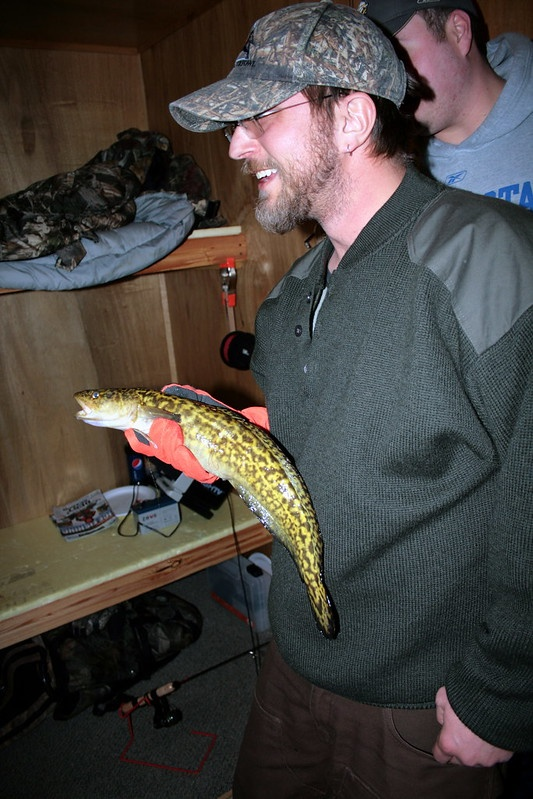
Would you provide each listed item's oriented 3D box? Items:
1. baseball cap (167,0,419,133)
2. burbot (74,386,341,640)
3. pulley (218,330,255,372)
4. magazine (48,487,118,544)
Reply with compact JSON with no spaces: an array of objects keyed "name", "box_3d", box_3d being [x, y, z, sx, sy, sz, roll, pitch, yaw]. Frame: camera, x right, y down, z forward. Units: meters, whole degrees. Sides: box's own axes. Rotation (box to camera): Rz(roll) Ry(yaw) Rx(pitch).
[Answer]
[{"name":"baseball cap","box_3d":[0.044,-0.511,1.012,0.342,0.170,0.219,1,27,1]},{"name":"burbot","box_3d":[-0.069,0.135,1.292,0.768,0.177,0.198,39,36,14]},{"name":"pulley","box_3d":[-0.107,-0.188,2.211,0.128,0.144,0.049,-9,16,23]},{"name":"magazine","box_3d":[-0.741,0.450,2.495,0.262,0.264,0.045,3,31,-29]}]
